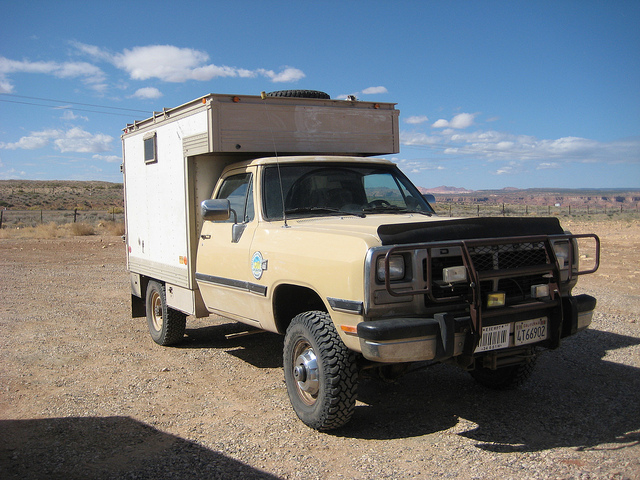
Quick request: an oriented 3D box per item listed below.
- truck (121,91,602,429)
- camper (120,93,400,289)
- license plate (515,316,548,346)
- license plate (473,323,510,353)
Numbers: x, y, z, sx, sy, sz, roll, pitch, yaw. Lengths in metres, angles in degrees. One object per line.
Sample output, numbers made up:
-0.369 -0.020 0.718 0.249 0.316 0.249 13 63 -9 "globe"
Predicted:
-0.061 -0.045 5.808 5.901 3.921 2.423 4 8 44 "truck"
-1.296 -0.748 8.152 3.480 2.855 4.548 -6 5 -32 "camper"
1.989 0.847 4.177 0.440 0.222 0.010 -4 6 -26 "license plate"
1.543 0.853 4.027 0.273 0.273 0.170 1 7 -24 "license plate"
